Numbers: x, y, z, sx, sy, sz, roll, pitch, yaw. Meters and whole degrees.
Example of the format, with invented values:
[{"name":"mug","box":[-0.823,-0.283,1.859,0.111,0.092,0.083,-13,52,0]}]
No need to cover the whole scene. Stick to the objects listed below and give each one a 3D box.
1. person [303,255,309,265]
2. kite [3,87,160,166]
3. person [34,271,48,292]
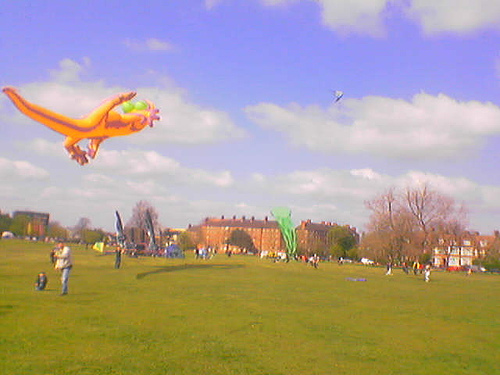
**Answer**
[{"name":"person","box":[8.828,11.352,77.870,0.974,1.355,2.124,1,-2,3]},{"name":"kite","box":[-7.302,-3.161,23.443,3.859,3.547,5.808,1,-9,14]},{"name":"person","box":[-10.732,4.842,25.882,0.677,0.946,1.723,6,-9,-21]}]
